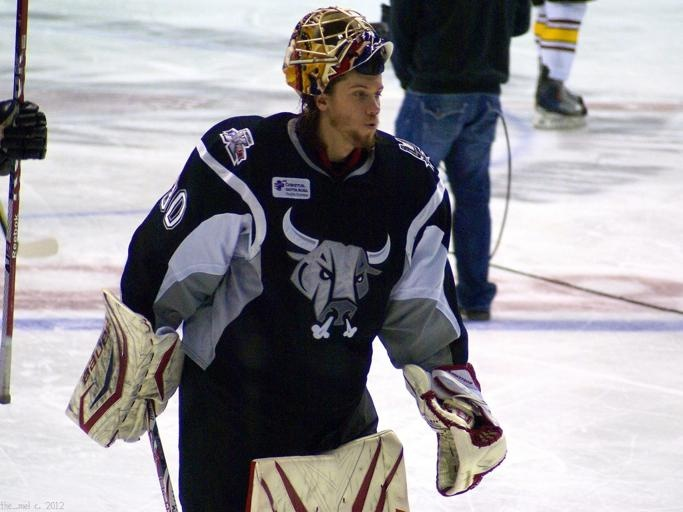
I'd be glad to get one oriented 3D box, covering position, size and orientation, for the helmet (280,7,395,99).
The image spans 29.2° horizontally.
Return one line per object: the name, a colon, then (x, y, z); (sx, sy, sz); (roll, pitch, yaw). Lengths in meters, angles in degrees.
helmet: (-0.039, -0.876, 5.608); (0.456, 0.363, 0.342); (15, 15, 15)
